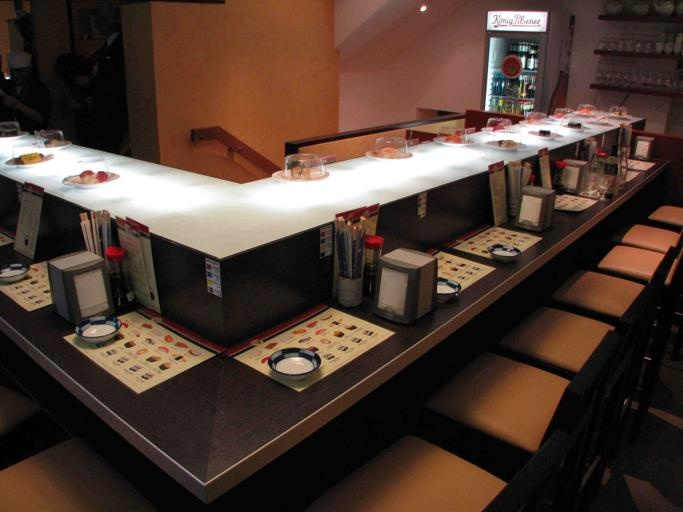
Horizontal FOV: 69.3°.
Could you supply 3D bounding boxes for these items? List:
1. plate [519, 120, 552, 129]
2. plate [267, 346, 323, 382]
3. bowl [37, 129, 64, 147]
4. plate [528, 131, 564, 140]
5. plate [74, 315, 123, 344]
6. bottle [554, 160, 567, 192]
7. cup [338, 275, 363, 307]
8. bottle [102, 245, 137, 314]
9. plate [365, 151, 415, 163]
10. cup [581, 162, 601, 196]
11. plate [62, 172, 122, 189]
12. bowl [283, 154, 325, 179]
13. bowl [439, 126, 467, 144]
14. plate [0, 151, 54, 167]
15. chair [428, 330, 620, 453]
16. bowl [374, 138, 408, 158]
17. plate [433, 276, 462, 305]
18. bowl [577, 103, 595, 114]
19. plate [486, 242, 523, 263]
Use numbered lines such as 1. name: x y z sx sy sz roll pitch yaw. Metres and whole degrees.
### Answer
1. plate: 1.589 -1.082 4.055 0.214 0.041 0.209 0 18 6
2. plate: -0.149 0.340 1.546 0.152 0.042 0.136 16 30 29
3. bowl: -1.770 -0.727 2.997 0.133 0.078 0.133 4 26 -2
4. plate: 1.514 -0.906 3.656 0.250 0.050 0.261 10 27 18
5. plate: -0.822 0.255 1.672 0.136 0.048 0.135 -15 30 -30
6. bottle: 1.467 -0.541 3.320 0.091 0.202 0.071 10 28 18
7. cup: 0.031 0.126 1.940 0.109 0.112 0.107 0 27 0
8. bottle: -0.816 0.087 1.817 0.077 0.224 0.106 -12 29 -23
9. plate: 0.290 -0.568 2.812 0.292 0.035 0.166 -5 26 -11
10. cup: 1.711 -0.550 3.339 0.115 0.214 0.365 13 29 24
11. plate: -1.157 -0.350 2.288 0.242 0.039 0.159 -12 28 -24
12. bowl: -0.175 -0.425 2.318 0.203 0.098 0.137 -1 26 -3
13. bowl: 0.773 -0.812 3.406 0.157 0.109 0.246 3 28 12
14. plate: -1.695 -0.542 2.682 0.234 0.054 0.207 -16 30 -31
15. chair: 0.665 0.513 1.852 0.501 0.311 0.480 21 38 36
16. bowl: 0.288 -0.625 2.844 0.165 0.067 0.160 0 24 0
17. plate: 0.432 0.127 1.988 0.100 0.071 0.175 8 27 15
18. bowl: 2.347 -1.421 4.780 0.162 0.105 0.161 -4 29 2
19. plate: 0.769 -0.016 2.347 0.145 0.039 0.143 14 29 25
